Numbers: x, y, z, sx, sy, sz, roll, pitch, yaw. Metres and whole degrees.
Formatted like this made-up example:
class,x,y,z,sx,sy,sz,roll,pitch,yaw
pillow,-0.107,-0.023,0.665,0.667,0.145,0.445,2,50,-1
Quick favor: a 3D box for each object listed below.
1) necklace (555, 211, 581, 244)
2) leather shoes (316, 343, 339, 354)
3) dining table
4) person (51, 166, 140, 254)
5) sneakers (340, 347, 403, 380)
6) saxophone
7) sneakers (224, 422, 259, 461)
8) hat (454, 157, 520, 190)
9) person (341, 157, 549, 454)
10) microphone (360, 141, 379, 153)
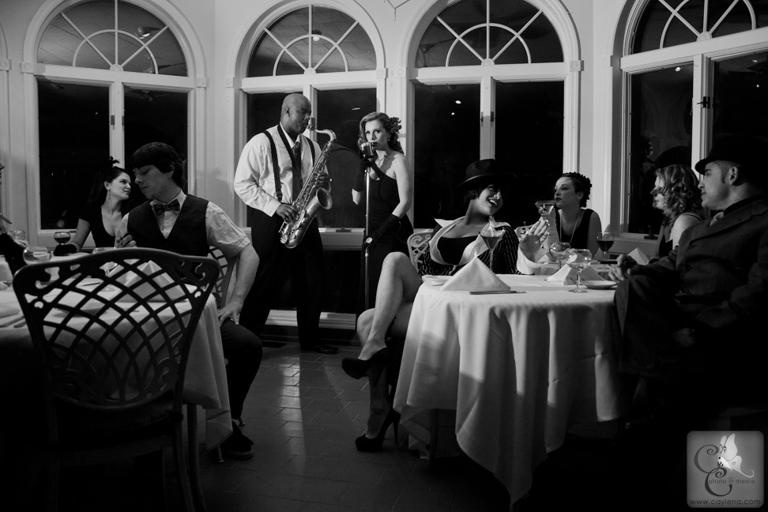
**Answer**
class,x,y,z,sx,sy,sz,roll,pitch,yaw
necklace,1.559,-0.237,5.382,0.265,0.374,0.191,-1,0,9
leather shoes,-0.543,0.886,6.097,0.153,0.055,0.097,-1,-2,31
dining table,0.748,0.721,3.996,1.403,1.161,1.423,-1,8,-29
person,-2.545,-0.405,5.605,0.276,0.912,0.577,18,-3,38
sneakers,-0.115,0.661,3.917,0.296,0.117,0.098,-8,-7,-9
saxophone,-0.721,-0.627,5.938,0.513,1.071,0.554,-2,8,-4
sneakers,-0.872,1.124,3.837,0.115,0.138,0.303,4,-10,-23
hat,0.705,-0.586,4.502,0.418,0.168,0.381,-9,-2,-17
person,0.272,0.304,4.182,1.119,2.167,0.973,14,2,-27
microphone,-0.137,-0.925,5.471,0.083,0.087,0.118,-1,0,43
